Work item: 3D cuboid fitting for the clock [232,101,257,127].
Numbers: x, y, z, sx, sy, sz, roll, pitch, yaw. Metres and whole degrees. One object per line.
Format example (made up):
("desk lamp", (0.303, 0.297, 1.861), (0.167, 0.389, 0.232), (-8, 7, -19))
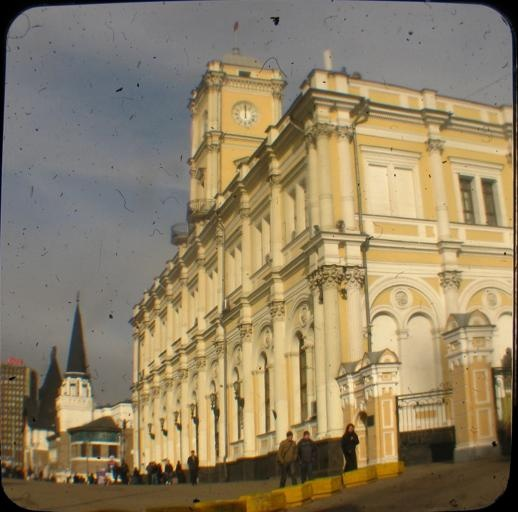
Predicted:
("clock", (-0.493, -5.364, 39.419), (0.892, 0.958, 0.398), (0, 6, -1))

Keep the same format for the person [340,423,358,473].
("person", (1.634, 3.341, 18.544), (0.290, 0.929, 0.568), (0, 6, 3))
